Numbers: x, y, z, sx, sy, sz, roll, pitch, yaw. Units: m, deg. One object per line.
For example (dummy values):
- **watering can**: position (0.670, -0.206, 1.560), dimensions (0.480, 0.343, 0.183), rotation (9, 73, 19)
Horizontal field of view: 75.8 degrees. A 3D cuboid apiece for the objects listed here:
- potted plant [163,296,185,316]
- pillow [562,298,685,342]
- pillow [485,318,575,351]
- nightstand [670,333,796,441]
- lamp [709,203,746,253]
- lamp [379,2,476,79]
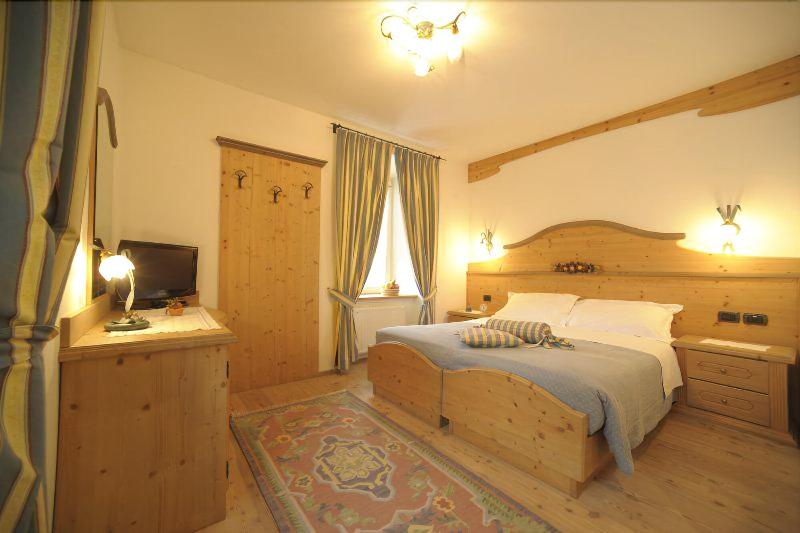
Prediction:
- **potted plant**: position (-1.977, 0.357, 4.510), dimensions (0.187, 0.130, 0.157), rotation (-6, -9, 30)
- **pillow**: position (2.293, 0.553, 5.380), dimensions (0.661, 0.115, 0.550), rotation (-2, 32, 48)
- **pillow**: position (1.195, 0.603, 4.836), dimensions (0.586, 0.172, 0.304), rotation (12, 9, 25)
- **nightstand**: position (3.150, 1.048, 4.914), dimensions (0.746, 0.943, 1.147), rotation (5, -5, -44)
- **lamp**: position (3.320, -0.389, 5.181), dimensions (0.230, 0.500, 0.082), rotation (3, 3, 30)
- **lamp**: position (0.245, -2.047, 4.612), dimensions (0.590, 0.213, 0.592), rotation (-7, -26, 18)
